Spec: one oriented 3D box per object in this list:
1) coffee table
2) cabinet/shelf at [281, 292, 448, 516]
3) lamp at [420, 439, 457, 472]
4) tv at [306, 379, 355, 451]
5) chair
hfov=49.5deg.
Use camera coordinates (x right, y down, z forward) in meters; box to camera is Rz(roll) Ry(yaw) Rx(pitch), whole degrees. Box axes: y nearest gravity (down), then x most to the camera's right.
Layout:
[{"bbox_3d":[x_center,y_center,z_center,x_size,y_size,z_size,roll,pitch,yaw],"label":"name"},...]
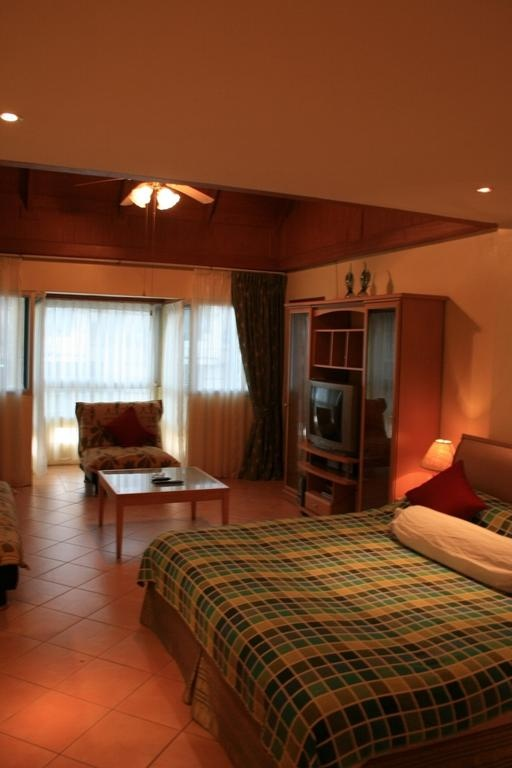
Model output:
[{"bbox_3d":[-0.721,0.984,4.497,0.779,0.407,0.698,-1,5,-17],"label":"coffee table"},{"bbox_3d":[0.924,0.169,4.645,0.602,2.067,2.181,0,2,-14],"label":"cabinet/shelf"},{"bbox_3d":[1.273,0.491,3.942,0.216,0.288,0.220,9,-1,16],"label":"lamp"},{"bbox_3d":[0.683,0.291,5.063,0.352,0.585,0.683,0,3,-19],"label":"tv"},{"bbox_3d":[-1.518,0.604,6.290,1.069,0.731,1.038,-2,7,-23],"label":"chair"}]
